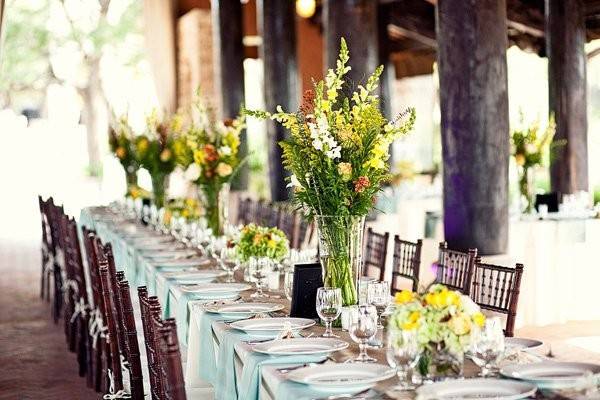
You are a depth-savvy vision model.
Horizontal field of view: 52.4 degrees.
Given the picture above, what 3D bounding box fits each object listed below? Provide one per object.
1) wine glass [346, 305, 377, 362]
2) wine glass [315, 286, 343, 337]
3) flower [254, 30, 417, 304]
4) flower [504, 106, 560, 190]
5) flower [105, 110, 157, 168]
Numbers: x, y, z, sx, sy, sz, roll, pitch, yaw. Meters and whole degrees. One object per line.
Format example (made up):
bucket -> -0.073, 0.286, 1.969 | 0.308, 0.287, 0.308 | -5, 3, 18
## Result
wine glass -> 0.346, 0.710, 3.281 | 0.145, 0.304, 0.210 | -1, -2, 6
wine glass -> 0.179, 0.654, 3.571 | 0.135, 0.294, 0.226 | -1, -2, 6
flower -> 0.254, -0.104, 3.714 | 0.743, 1.483, 0.313 | -1, -1, 9
flower -> 2.663, -0.491, 6.960 | 0.465, 0.873, 0.414 | -2, -2, 21
flower -> -2.128, -0.725, 7.483 | 0.570, 0.896, 0.382 | -2, 9, 7
